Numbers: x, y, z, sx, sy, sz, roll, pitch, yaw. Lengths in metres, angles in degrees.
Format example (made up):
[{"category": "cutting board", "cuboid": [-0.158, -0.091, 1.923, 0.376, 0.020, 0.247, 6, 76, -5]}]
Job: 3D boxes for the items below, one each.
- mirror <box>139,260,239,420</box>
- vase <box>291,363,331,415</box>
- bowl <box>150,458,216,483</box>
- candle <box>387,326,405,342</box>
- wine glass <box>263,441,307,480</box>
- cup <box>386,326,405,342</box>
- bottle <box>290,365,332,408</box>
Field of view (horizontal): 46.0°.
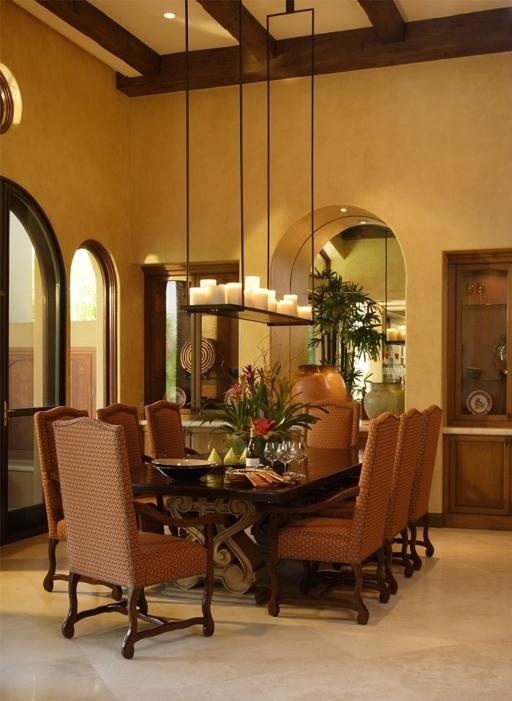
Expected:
[{"category": "mirror", "cuboid": [-0.654, -0.073, 6.730, 1.043, 1.793, 0.259, 7, 21, 9]}, {"category": "vase", "cuboid": [0.510, 0.358, 5.800, 0.368, 0.459, 0.371, 9, 13, 39]}, {"category": "bowl", "cuboid": [-0.395, 0.649, 3.293, 0.327, 0.093, 0.411, 2, -7, -7]}, {"category": "candle", "cuboid": [1.996, -0.236, 8.570, 0.223, 0.153, 0.225, 0, 0, 7]}, {"category": "wine glass", "cuboid": [0.204, 0.683, 3.549, 0.301, 0.280, 0.179, 1, -4, -25]}, {"category": "cup", "cuboid": [1.979, -0.225, 8.561, 0.228, 0.217, 0.229, 1, -1, 0]}, {"category": "bottle", "cuboid": [0.509, 0.324, 5.646, 0.337, 0.404, 0.337, 0, -9, -4]}]
